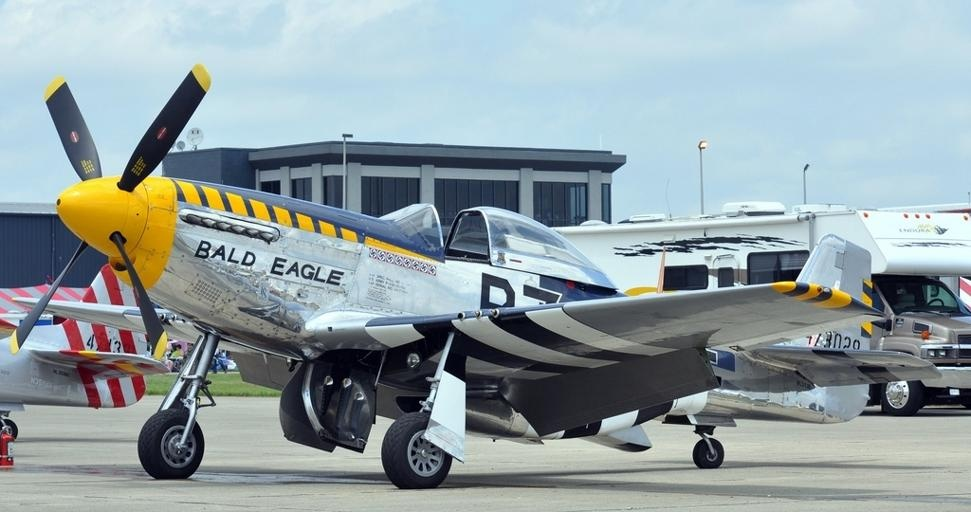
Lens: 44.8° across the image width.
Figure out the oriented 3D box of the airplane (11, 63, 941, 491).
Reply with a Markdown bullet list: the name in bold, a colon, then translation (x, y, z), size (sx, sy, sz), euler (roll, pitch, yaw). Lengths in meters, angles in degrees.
- **airplane**: translation (-0.994, 0.933, 18.548), size (10.366, 3.023, 9.475), euler (8, -6, -28)
